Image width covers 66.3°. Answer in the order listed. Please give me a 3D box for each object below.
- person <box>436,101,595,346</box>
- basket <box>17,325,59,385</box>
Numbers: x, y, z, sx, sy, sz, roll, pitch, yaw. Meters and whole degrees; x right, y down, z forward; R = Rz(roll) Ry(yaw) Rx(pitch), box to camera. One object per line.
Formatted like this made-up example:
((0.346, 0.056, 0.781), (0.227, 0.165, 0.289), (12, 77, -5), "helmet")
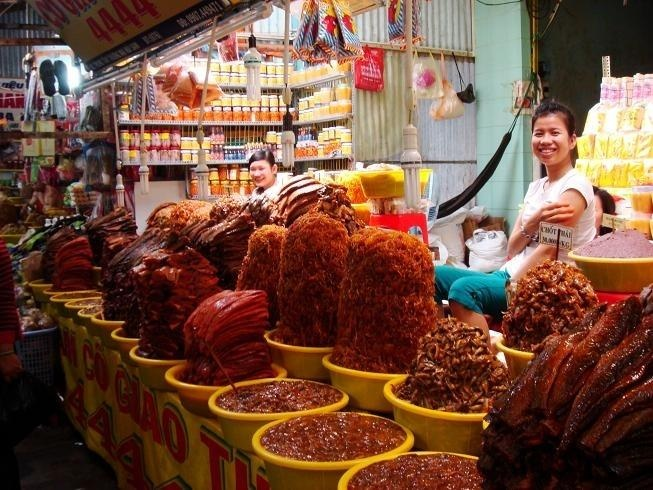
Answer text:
((0.896, 0.018, 2.492), (0.774, 1.460, 0.515), (3, -2, 0), "person")
((-2.234, 0.837, 3.866), (0.325, 0.362, 0.350), (-2, -2, -44), "basket")
